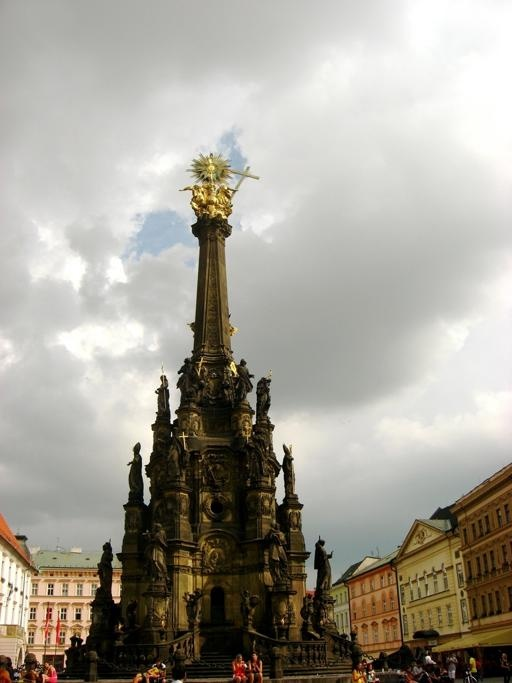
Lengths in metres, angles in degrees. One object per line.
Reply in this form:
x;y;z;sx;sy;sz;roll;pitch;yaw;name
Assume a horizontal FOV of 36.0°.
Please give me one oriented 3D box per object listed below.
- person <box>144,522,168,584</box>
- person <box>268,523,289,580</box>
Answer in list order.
-4.081;8.676;32.181;0.868;2.410;1.036;3;-25;-6;person
0.877;9.179;33.838;0.752;2.418;1.235;-1;-24;1;person
